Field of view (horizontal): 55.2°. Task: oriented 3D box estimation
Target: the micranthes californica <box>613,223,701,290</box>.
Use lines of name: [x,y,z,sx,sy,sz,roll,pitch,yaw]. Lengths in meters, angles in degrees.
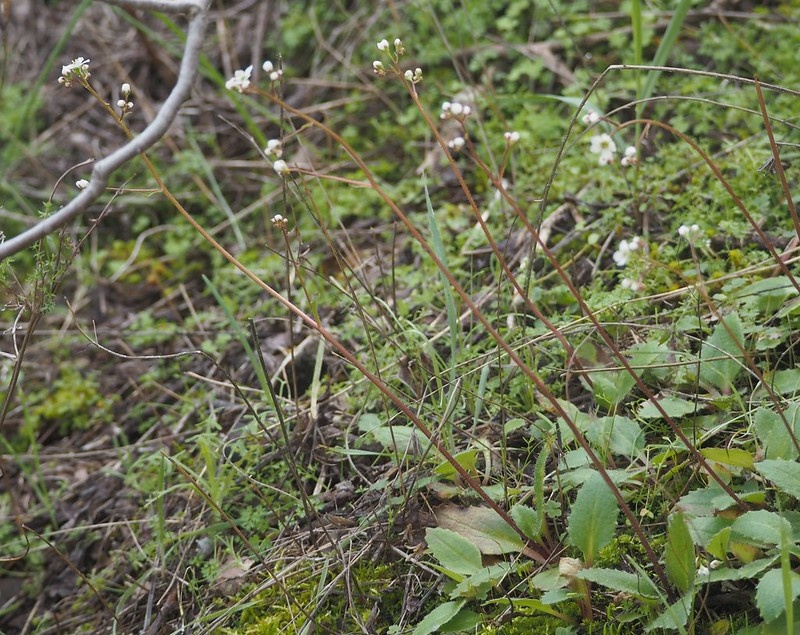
micranthes californica: [1.013,-0.233,3.015,0.333,0.124,0.091,-40,34,-10]
